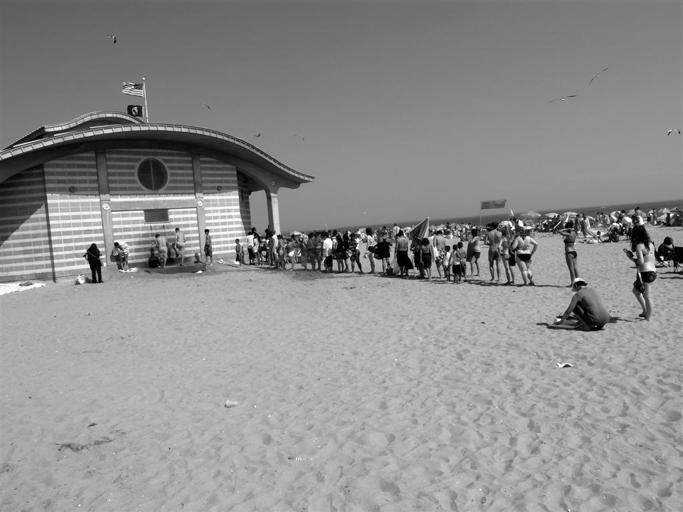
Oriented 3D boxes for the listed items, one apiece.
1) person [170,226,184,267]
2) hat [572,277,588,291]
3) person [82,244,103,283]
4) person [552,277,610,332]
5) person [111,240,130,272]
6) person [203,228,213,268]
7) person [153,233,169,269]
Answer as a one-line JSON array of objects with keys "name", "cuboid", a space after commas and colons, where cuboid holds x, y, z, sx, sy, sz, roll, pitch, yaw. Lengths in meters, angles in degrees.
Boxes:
[{"name": "person", "cuboid": [-7.918, -0.525, 24.695, 0.569, 1.789, 0.901, -8, 16, -25]}, {"name": "hat", "cuboid": [5.959, 0.708, 12.737, 0.267, 0.294, 0.372, 1, 42, 16]}, {"name": "person", "cuboid": [-9.891, 0.242, 20.304, 0.552, 1.576, 1.355, -9, 16, -27]}, {"name": "person", "cuboid": [5.582, 1.145, 11.955, 1.040, 1.150, 1.322, 1, 3, -16]}, {"name": "person", "cuboid": [-9.992, -0.056, 22.899, 0.731, 1.323, 0.670, -2, 14, 0]}, {"name": "person", "cuboid": [-6.517, -0.380, 24.760, 0.482, 1.590, 2.641, -5, 15, -13]}, {"name": "person", "cuboid": [-8.442, -0.258, 23.776, 0.496, 1.447, 1.291, -7, 15, -21]}]
